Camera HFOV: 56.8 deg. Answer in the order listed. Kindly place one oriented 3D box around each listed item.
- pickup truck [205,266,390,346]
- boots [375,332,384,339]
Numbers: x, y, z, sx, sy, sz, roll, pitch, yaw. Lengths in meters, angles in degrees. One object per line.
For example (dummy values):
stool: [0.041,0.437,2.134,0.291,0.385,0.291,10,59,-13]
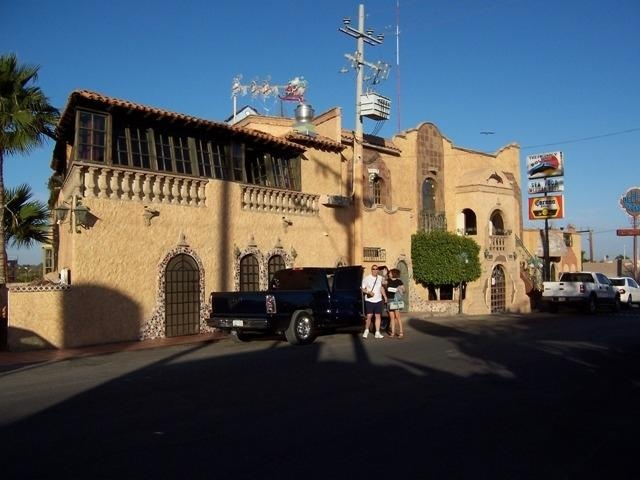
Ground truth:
pickup truck: [-0.732,1.845,16.986,2.532,1.641,3.687,-4,-3,43]
boots: [1.746,2.782,17.318,0.263,0.211,0.118,-3,-1,34]
